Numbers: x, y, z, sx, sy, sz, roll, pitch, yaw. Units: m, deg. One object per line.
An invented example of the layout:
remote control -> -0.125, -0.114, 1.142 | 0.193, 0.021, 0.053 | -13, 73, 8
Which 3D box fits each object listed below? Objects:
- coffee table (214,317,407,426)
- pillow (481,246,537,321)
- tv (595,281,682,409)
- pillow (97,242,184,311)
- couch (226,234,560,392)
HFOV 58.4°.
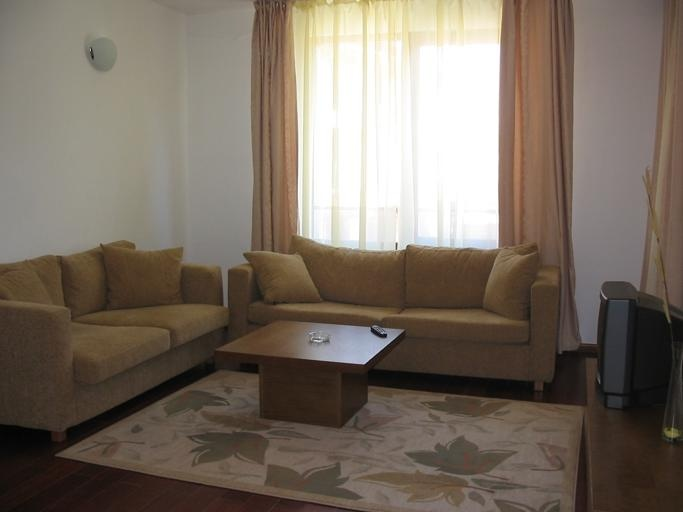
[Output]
coffee table -> -0.233, 0.754, 3.997 | 0.738, 0.380, 0.788 | 1, 5, 20
pillow -> 1.286, 0.213, 4.888 | 0.253, 0.544, 0.572 | -2, 6, -23
tv -> 1.583, 0.345, 3.413 | 0.429, 0.776, 0.838 | 1, 2, 20
pillow -> -1.650, 0.199, 4.972 | 0.481, 0.431, 0.183 | 1, -20, -35
couch -> 0.422, 0.474, 5.190 | 2.617, 1.248, 0.908 | 2, 0, 15
